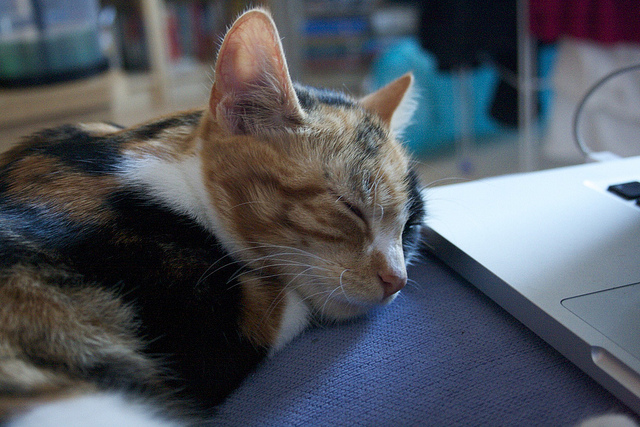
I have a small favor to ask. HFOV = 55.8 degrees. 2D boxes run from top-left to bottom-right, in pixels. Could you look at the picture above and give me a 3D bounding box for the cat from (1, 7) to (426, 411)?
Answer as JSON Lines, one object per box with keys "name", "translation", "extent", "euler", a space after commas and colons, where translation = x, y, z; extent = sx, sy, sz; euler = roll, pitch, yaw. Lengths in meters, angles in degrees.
{"name": "cat", "translation": [-0.151, -0.036, 0.932], "extent": [0.687, 0.497, 0.363], "euler": [-15, 29, -17]}
